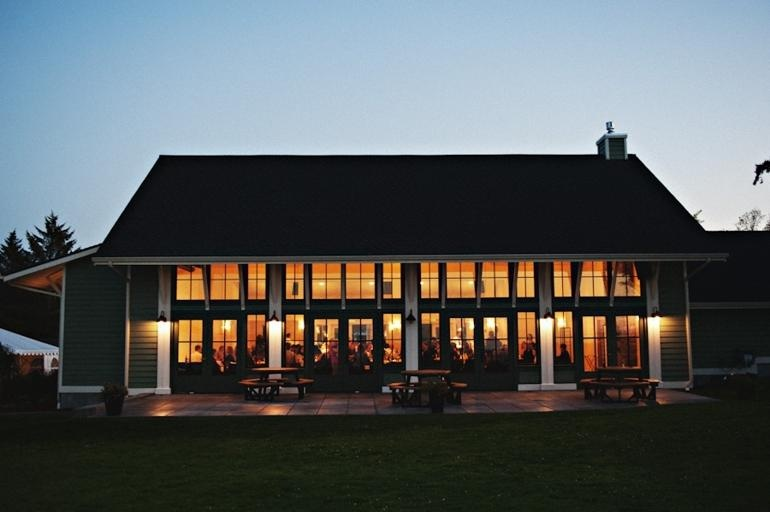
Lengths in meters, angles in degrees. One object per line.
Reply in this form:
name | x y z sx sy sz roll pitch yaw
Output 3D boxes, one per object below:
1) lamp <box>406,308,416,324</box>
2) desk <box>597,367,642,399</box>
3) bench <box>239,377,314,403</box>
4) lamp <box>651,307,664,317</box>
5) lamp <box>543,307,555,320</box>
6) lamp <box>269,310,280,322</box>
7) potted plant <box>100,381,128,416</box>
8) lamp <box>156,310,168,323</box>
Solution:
lamp | 0.941 2.236 31.325 0.460 0.440 0.385 0 0 12
desk | 8.086 4.321 29.746 1.467 1.275 2.183 2 7 15
bench | -3.847 4.647 30.400 2.476 0.919 1.696 -2 7 -12
lamp | 10.051 2.094 31.651 0.389 0.357 0.381 3 -14 -12
lamp | 6.031 2.080 31.469 0.423 0.406 0.253 -5 8 -35
lamp | -4.031 2.191 31.394 0.384 0.427 0.125 -1 7 -4
potted plant | -8.735 4.603 27.932 0.956 1.046 1.061 -1 -6 -13
lamp | -8.029 2.242 31.102 0.482 0.519 0.355 2 -15 -11
